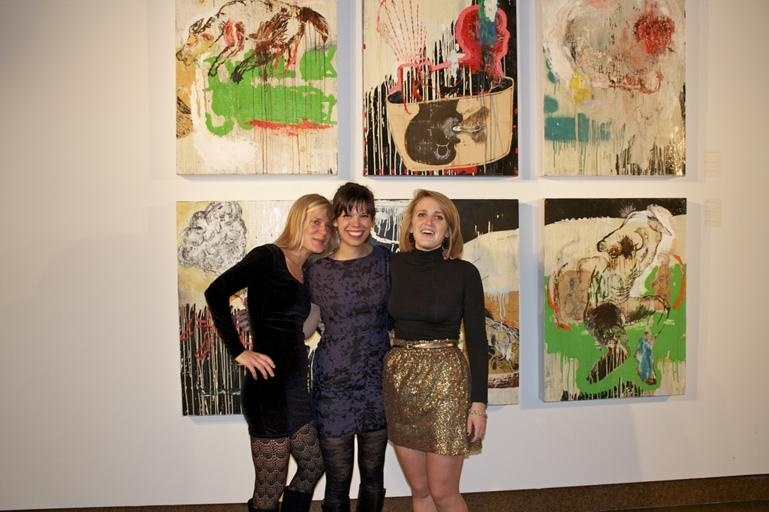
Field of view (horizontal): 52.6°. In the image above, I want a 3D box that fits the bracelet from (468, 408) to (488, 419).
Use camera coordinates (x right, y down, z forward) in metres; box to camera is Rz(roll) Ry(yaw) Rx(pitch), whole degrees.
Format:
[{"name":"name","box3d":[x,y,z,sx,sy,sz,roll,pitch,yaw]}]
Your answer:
[{"name":"bracelet","box3d":[0.670,1.102,5.570,0.094,0.071,0.111,6,5,3]}]
